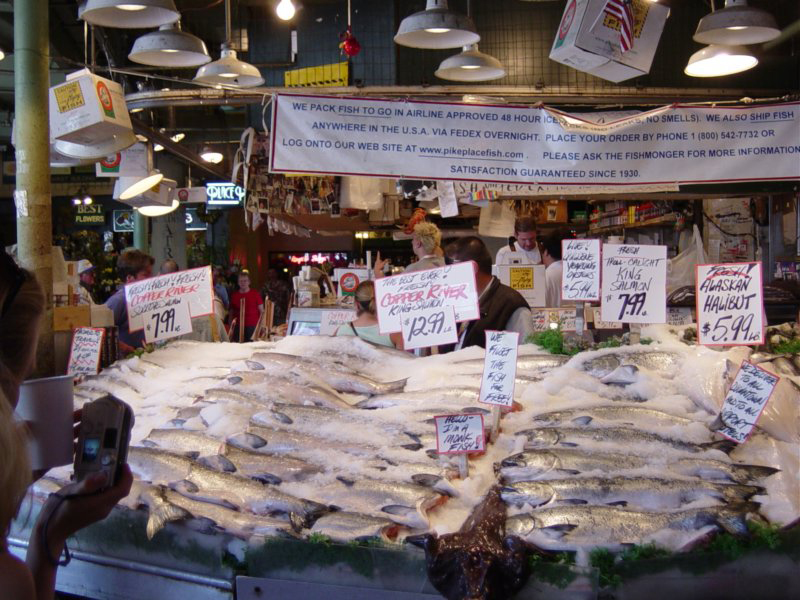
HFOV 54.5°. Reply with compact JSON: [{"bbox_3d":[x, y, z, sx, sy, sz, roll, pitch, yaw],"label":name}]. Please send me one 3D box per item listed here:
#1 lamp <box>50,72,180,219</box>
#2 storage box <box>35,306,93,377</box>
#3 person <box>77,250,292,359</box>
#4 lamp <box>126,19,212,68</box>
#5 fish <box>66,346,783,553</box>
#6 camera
[{"bbox_3d":[-2.651,-1.571,6.911,0.926,0.554,1.299,-9,-24,-10],"label":"lamp"},{"bbox_3d":[-2.345,0.304,5.383,0.310,0.489,0.463,1,-8,4],"label":"storage box"},{"bbox_3d":[-2.399,0.005,8.553,0.498,0.846,1.729,-10,2,37],"label":"person"},{"bbox_3d":[-1.806,-1.929,6.088,0.434,0.473,0.448,-3,-1,-4],"label":"lamp"},{"bbox_3d":[0.169,0.688,3.995,3.493,0.764,1.430,3,10,13],"label":"fish"},{"bbox_3d":[-1.132,0.540,3.034,0.187,0.338,0.088,5,-16,22],"label":"camera"}]
